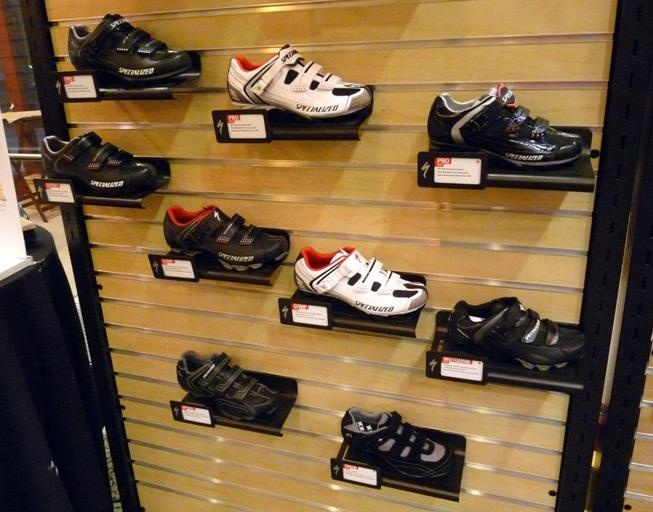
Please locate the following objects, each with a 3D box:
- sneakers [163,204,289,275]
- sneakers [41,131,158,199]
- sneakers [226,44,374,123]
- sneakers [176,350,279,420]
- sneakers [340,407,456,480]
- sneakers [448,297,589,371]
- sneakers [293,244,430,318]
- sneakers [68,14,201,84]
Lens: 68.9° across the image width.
[{"bbox_3d":[-0.326,-0.067,1.651,0.530,0.180,0.176,10,39,4],"label":"sneakers"},{"bbox_3d":[-0.792,-0.317,1.652,0.506,0.166,0.205,11,19,21],"label":"sneakers"},{"bbox_3d":[-0.083,-0.527,1.439,0.510,0.180,0.179,5,40,8],"label":"sneakers"},{"bbox_3d":[-0.356,0.481,1.813,0.487,0.176,0.174,17,34,5],"label":"sneakers"},{"bbox_3d":[0.250,0.626,1.680,0.500,0.165,0.163,10,31,10],"label":"sneakers"},{"bbox_3d":[0.513,0.206,1.453,0.466,0.174,0.165,7,35,10],"label":"sneakers"},{"bbox_3d":[0.121,0.065,1.548,0.555,0.187,0.168,8,43,8],"label":"sneakers"},{"bbox_3d":[-0.644,-0.670,1.553,0.504,0.168,0.179,16,28,23],"label":"sneakers"}]
